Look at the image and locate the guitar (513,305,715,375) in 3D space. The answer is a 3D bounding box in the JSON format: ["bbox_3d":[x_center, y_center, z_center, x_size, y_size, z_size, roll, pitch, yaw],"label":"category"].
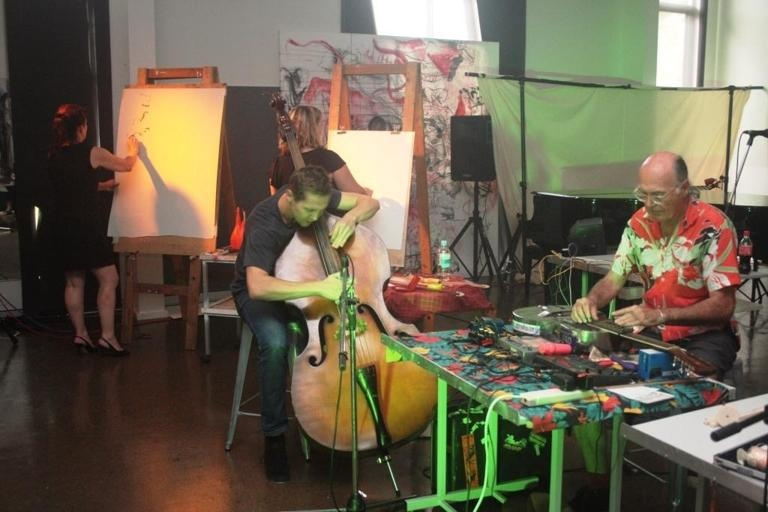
[{"bbox_3d":[1.259,0.380,3.760,0.404,0.106,1.012,-2,12,-43],"label":"guitar"}]

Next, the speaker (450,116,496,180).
[{"bbox_3d":[1.113,-1.308,8.542,0.564,0.786,0.782,-2,1,4],"label":"speaker"}]

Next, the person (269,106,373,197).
[{"bbox_3d":[-0.575,-0.845,5.476,0.521,0.971,0.335,-10,2,3],"label":"person"}]

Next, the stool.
[{"bbox_3d":[-0.876,0.989,5.429,0.882,1.318,0.921,4,-2,-21],"label":"stool"}]

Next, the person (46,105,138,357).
[{"bbox_3d":[-2.810,-0.248,6.421,0.844,2.294,0.540,2,11,16],"label":"person"}]

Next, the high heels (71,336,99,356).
[{"bbox_3d":[-2.816,0.847,6.401,0.101,0.131,0.302,4,5,0],"label":"high heels"}]

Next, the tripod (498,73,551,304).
[{"bbox_3d":[1.602,-0.787,7.717,0.813,2.523,0.807,-8,20,-8],"label":"tripod"}]

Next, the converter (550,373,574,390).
[{"bbox_3d":[0.920,0.647,3.522,0.059,0.065,0.121,-7,10,-25],"label":"converter"}]

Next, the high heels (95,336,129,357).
[{"bbox_3d":[-2.551,0.879,6.434,0.345,0.182,0.124,5,-2,-10],"label":"high heels"}]

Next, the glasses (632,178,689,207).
[{"bbox_3d":[1.757,-0.396,4.261,0.346,0.156,0.164,0,10,8],"label":"glasses"}]

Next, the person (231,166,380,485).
[{"bbox_3d":[-0.548,0.427,4.621,1.026,2.016,0.642,-2,-16,-33],"label":"person"}]

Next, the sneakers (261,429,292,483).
[{"bbox_3d":[-0.722,1.373,4.635,0.145,0.285,0.410,3,-2,-21],"label":"sneakers"}]
